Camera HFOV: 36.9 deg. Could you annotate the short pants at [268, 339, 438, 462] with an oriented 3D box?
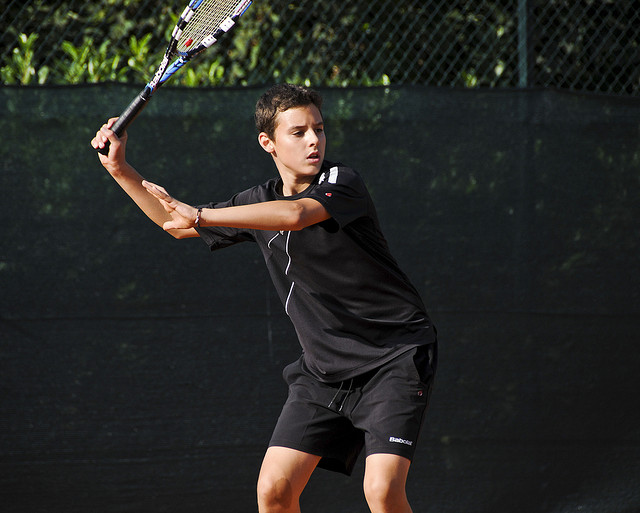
[{"bbox_3d":[0.162,0.561,4.236,0.697,0.383,0.672,-6,62,29],"label":"short pants"}]
